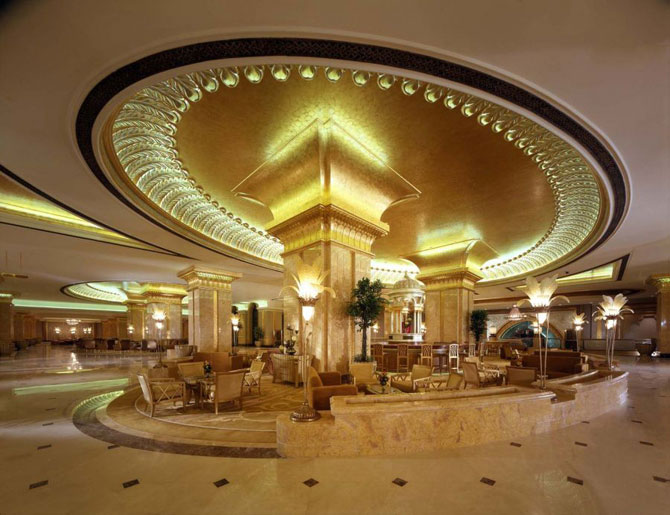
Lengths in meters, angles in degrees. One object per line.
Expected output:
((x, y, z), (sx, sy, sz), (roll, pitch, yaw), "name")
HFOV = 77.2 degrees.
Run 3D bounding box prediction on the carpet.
((-2.916, 3.127, 8.549), (4.473, 0.184, 3.171), (0, -1, 10), "carpet")
